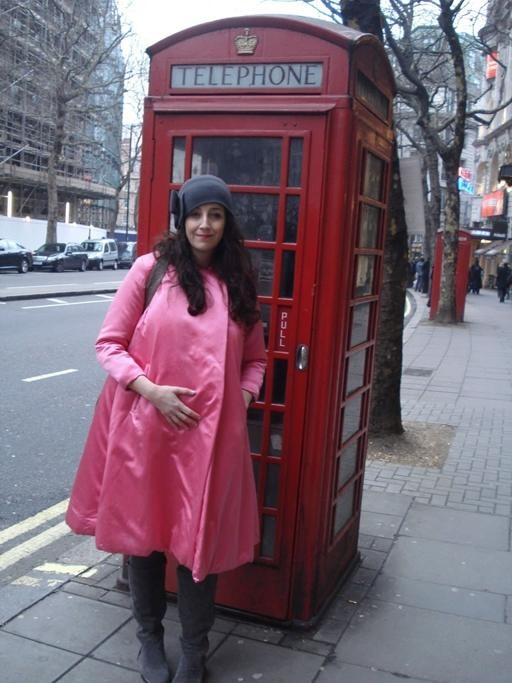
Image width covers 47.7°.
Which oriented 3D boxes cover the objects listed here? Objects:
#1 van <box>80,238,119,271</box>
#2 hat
[{"bbox_3d":[-10.259,-5.665,37.506,1.538,1.549,2.779,0,4,12],"label":"van"},{"bbox_3d":[-0.185,-0.458,1.892,0.147,0.159,0.195,-3,15,-13],"label":"hat"}]
